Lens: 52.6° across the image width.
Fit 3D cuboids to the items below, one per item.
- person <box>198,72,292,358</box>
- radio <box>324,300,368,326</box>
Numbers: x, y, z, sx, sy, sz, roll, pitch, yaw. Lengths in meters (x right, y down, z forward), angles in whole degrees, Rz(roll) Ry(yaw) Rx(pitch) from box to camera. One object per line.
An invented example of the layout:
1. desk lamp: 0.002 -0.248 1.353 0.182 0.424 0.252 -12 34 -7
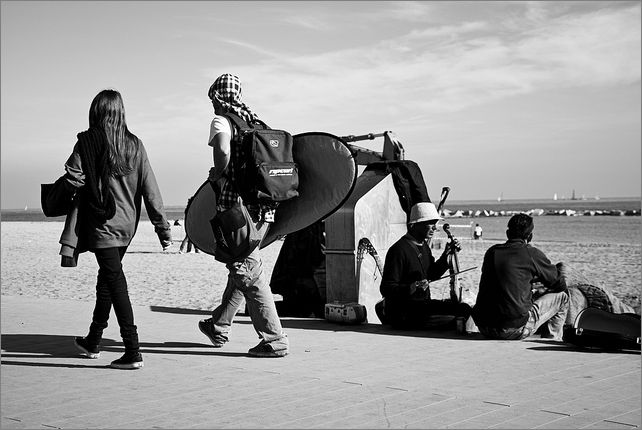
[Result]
1. person: -0.738 -0.016 6.127 0.836 2.563 1.218 0 4 -25
2. radio: 0.272 1.110 7.404 0.365 0.171 0.240 1 -2 41
